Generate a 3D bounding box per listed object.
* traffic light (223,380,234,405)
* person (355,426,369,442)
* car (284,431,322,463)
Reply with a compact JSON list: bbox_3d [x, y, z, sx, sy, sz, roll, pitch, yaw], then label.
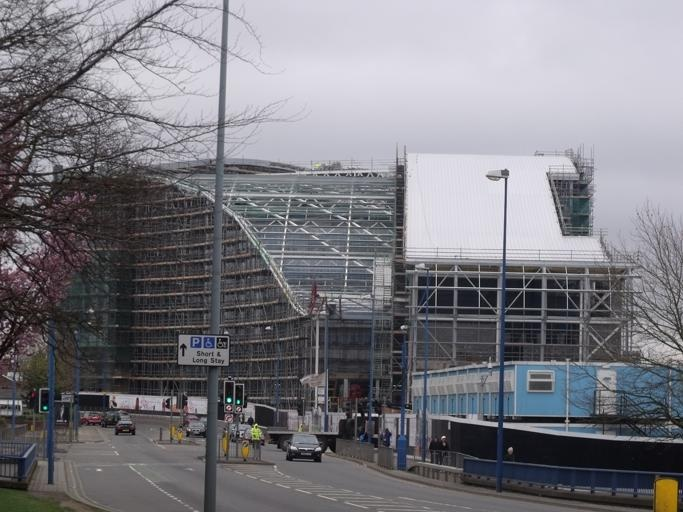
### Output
[{"bbox_3d":[-4.534,5.430,65.971,0.378,1.020,1.177,2,-11,-5],"label":"traffic light"},{"bbox_3d":[1.545,10.851,99.253,0.767,0.945,0.705,2,-7,-10],"label":"person"},{"bbox_3d":[-2.014,10.469,89.498,1.808,1.684,2.015,3,-11,-10],"label":"car"}]
